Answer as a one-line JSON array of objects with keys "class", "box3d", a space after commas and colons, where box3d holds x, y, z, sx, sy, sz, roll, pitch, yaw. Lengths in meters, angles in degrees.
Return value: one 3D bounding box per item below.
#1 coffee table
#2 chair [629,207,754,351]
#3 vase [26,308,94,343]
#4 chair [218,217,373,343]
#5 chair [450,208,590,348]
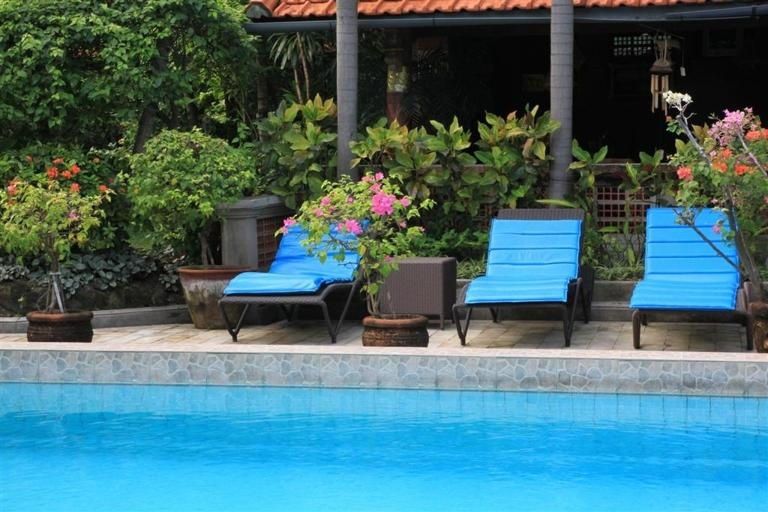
[{"class": "coffee table", "box3d": [0.383, 0.412, 9.348, 0.857, 0.738, 0.823, -1, 5, 7]}, {"class": "chair", "box3d": [3.379, 0.078, 8.639, 1.234, 1.188, 1.901, 0, 3, 16]}, {"class": "vase", "box3d": [-3.661, 0.796, 8.818, 0.490, 0.260, 0.479, -1, -1, 17]}, {"class": "chair", "box3d": [-1.017, 0.317, 9.547, 1.304, 1.281, 2.184, -1, 1, 14]}, {"class": "chair", "box3d": [1.669, 0.199, 9.068, 1.292, 1.318, 2.097, 0, 7, 18]}]
